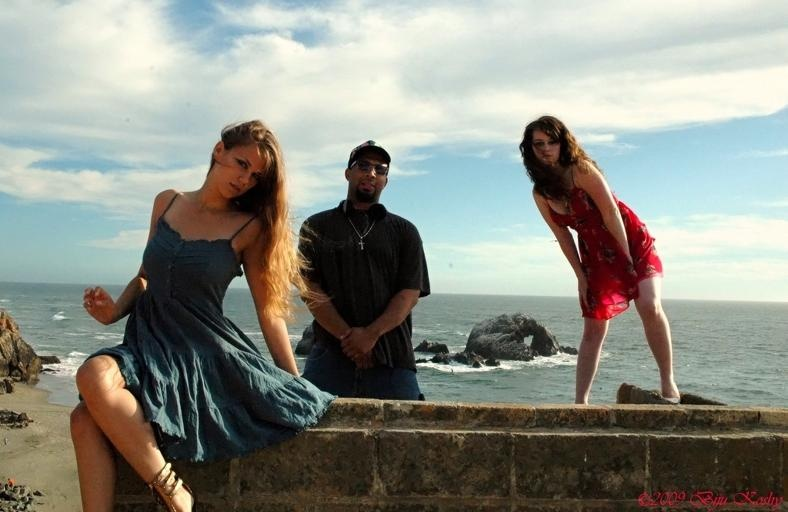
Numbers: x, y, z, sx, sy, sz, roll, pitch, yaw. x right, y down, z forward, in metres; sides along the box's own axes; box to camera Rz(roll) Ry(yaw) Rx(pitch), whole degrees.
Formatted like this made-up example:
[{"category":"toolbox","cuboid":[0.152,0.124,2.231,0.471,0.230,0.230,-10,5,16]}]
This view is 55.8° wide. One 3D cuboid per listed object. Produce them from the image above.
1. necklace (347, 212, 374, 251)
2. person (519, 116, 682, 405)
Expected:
[{"category":"necklace","cuboid":[-0.298,-0.203,6.661,0.368,0.409,0.034,2,-24,-5]},{"category":"person","cuboid":[1.777,0.047,6.483,1.271,2.467,0.731,-2,-4,4]}]
